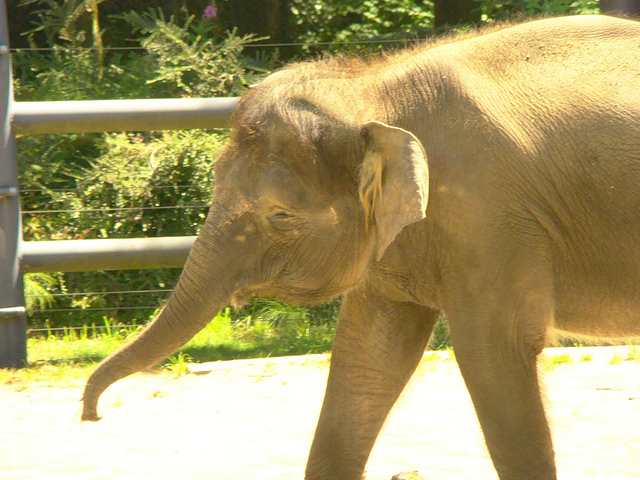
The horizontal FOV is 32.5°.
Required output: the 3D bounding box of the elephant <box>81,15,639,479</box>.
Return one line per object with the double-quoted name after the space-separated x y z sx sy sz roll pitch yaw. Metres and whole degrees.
0.368 -0.016 3.847 1.519 1.536 0.746 7 15 14 "elephant"
